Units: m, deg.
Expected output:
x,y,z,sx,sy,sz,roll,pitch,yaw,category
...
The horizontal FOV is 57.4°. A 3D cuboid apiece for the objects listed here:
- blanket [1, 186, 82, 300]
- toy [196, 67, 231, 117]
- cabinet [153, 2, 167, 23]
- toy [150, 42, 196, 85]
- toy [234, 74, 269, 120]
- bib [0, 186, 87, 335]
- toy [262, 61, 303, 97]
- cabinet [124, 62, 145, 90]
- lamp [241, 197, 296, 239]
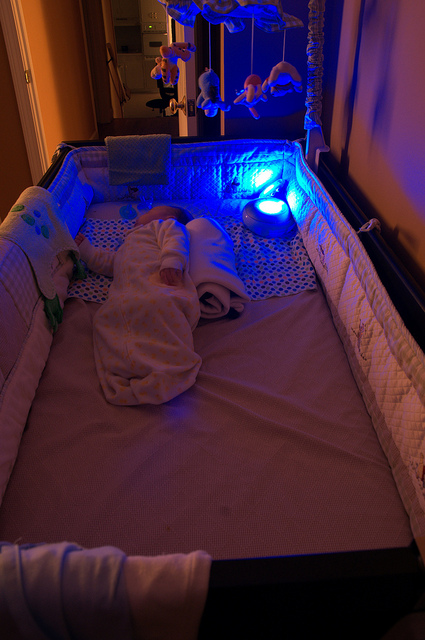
x,y,z,sx,sy,sz,roll,pitch,yaw,category
-0.579,-0.293,1.307,0.094,0.404,0.279,-19,14,19,blanket
0.000,-1.098,1.880,0.146,0.193,0.178,-1,35,0,toy
-0.838,-4.857,6.127,0.178,0.246,0.454,-6,37,-7,cabinet
-0.182,-1.198,1.821,0.200,0.166,0.128,-28,42,-32,toy
0.183,-1.041,1.819,0.129,0.178,0.230,4,36,8,toy
-0.557,-0.188,1.294,0.173,0.362,0.487,-9,45,-4,bib
0.297,-1.031,1.748,0.167,0.168,0.260,-2,23,8,toy
-1.287,-4.078,6.490,0.289,0.533,0.283,-2,43,-4,cabinet
0.260,-0.487,1.828,0.199,0.079,0.206,34,55,22,lamp
